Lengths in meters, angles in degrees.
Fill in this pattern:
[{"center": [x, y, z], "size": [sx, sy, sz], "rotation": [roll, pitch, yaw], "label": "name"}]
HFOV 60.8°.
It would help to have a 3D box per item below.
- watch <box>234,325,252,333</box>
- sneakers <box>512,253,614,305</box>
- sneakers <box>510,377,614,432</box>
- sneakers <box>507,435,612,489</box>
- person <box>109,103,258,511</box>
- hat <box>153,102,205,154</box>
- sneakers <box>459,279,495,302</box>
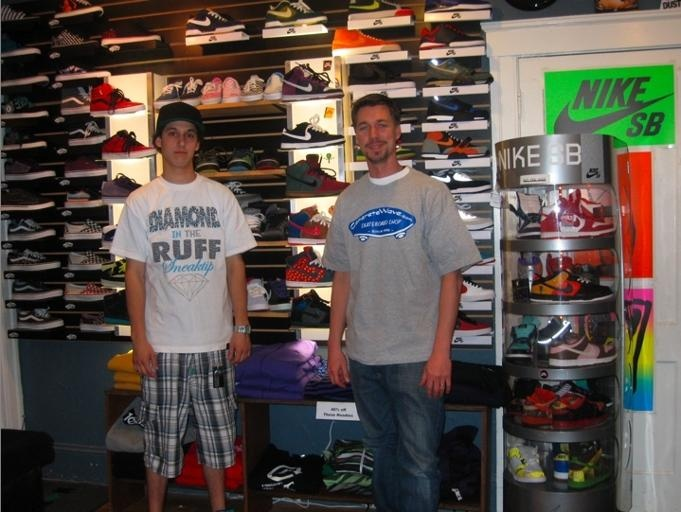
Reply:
[{"center": [-0.551, 0.408, 3.305], "size": [0.087, 0.041, 0.077], "rotation": [2, -5, 2], "label": "watch"}, {"center": [1.214, 0.138, 3.405], "size": [0.667, 0.239, 0.216], "rotation": [0, -2, 10], "label": "sneakers"}, {"center": [1.281, 0.869, 3.401], "size": [0.559, 0.202, 0.260], "rotation": [-2, -3, 8], "label": "sneakers"}, {"center": [1.274, 1.223, 3.474], "size": [0.694, 0.235, 0.232], "rotation": [-3, -1, 11], "label": "sneakers"}, {"center": [-0.839, 0.276, 3.257], "size": [0.752, 2.258, 0.200], "rotation": [-5, 1, -18], "label": "person"}, {"center": [-0.901, -0.752, 3.280], "size": [0.216, 0.145, 0.317], "rotation": [1, -2, -16], "label": "hat"}, {"center": [0.829, 0.239, 3.875], "size": [0.364, 0.127, 0.126], "rotation": [1, 0, -10], "label": "sneakers"}]
